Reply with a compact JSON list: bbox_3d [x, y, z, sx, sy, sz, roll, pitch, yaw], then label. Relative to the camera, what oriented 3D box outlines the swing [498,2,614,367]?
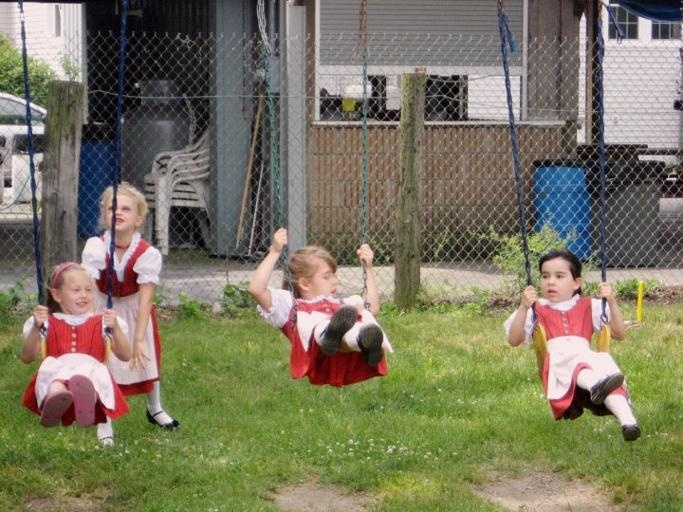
[{"bbox_3d":[1.376,-0.698,7.721,0.278,3.912,0.636,-7,-2,-31],"label":"swing"}]

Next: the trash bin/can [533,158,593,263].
[{"bbox_3d":[2.578,-0.589,12.114,0.516,1.454,0.631,1,13,-11],"label":"trash bin/can"}]

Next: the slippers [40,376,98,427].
[{"bbox_3d":[-1.750,0.967,6.790,0.229,0.441,0.138,1,13,-23],"label":"slippers"}]

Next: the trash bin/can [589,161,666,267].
[{"bbox_3d":[3.300,-0.488,12.460,1.041,1.756,1.044,0,2,7],"label":"trash bin/can"}]

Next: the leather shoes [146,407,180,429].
[{"bbox_3d":[-1.302,1.193,7.630,0.261,0.127,0.108,12,15,38],"label":"leather shoes"}]

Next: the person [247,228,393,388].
[{"bbox_3d":[-0.146,0.427,7.236,0.755,1.323,0.895,2,9,-12],"label":"person"}]

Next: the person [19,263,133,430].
[{"bbox_3d":[-1.830,0.669,7.313,0.660,1.244,0.995,2,-5,-16],"label":"person"}]

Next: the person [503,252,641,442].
[{"bbox_3d":[1.592,0.655,7.253,0.744,1.365,0.834,5,7,10],"label":"person"}]
